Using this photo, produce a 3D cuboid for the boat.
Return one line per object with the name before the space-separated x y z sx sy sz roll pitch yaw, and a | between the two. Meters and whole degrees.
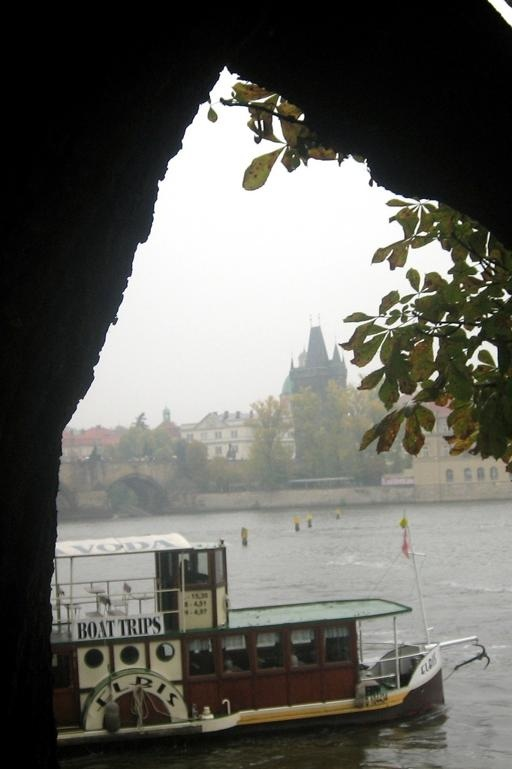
boat | 0.993 4.327 17.538 9.068 3.765 3.059 -3 0 -20
